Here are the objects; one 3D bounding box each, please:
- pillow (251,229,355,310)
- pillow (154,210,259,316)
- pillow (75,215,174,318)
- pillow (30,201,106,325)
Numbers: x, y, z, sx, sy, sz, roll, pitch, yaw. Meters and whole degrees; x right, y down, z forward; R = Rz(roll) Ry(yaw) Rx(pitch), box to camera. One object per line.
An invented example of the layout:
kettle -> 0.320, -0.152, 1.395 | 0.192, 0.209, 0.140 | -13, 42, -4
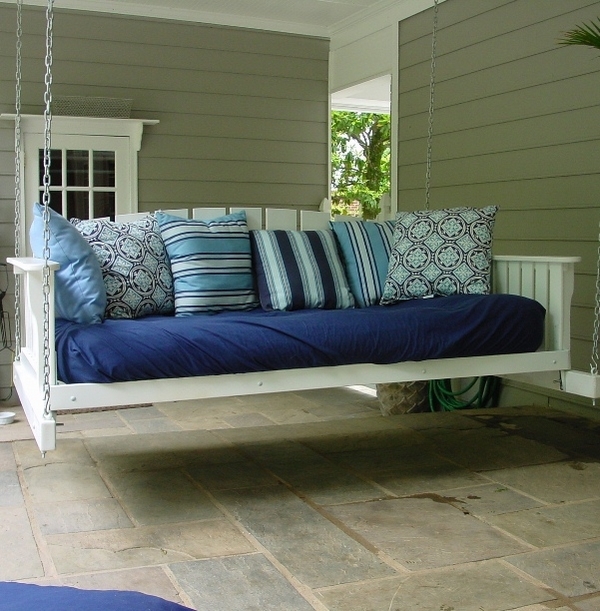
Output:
pillow -> -0.026, -0.189, 3.373 | 0.653, 0.438, 0.152 | -1, -32, -29
pillow -> -0.478, -0.198, 3.131 | 0.654, 0.544, 0.234 | -9, -11, -37
pillow -> -0.830, -0.241, 3.195 | 0.296, 0.500, 0.611 | 1, 13, -20
pillow -> -0.923, -0.179, 2.482 | 0.263, 0.500, 0.460 | -3, 4, -21
